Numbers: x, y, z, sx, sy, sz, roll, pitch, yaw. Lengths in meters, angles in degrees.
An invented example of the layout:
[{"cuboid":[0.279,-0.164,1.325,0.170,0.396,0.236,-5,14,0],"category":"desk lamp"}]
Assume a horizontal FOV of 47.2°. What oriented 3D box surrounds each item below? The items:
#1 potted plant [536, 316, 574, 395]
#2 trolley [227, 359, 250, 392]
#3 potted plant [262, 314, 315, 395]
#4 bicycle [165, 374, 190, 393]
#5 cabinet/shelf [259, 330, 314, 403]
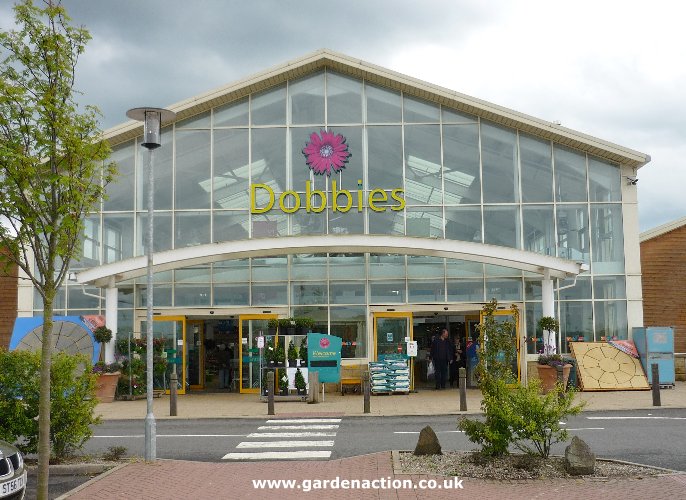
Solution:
[{"cuboid":[7.230,3.531,26.985,1.083,2.524,3.366,-4,-11,14],"category":"potted plant"},{"cuboid":[-4.273,5.046,31.534,0.788,0.951,0.733,-5,8,6],"category":"trolley"},{"cuboid":[-1.844,3.580,26.154,2.569,3.087,1.782,0,-9,1],"category":"potted plant"},{"cuboid":[-6.232,5.034,29.095,1.108,0.605,1.058,0,-5,-3],"category":"bicycle"},{"cuboid":[-1.938,4.113,27.298,2.049,2.529,2.309,0,-10,-3],"category":"cabinet/shelf"}]
